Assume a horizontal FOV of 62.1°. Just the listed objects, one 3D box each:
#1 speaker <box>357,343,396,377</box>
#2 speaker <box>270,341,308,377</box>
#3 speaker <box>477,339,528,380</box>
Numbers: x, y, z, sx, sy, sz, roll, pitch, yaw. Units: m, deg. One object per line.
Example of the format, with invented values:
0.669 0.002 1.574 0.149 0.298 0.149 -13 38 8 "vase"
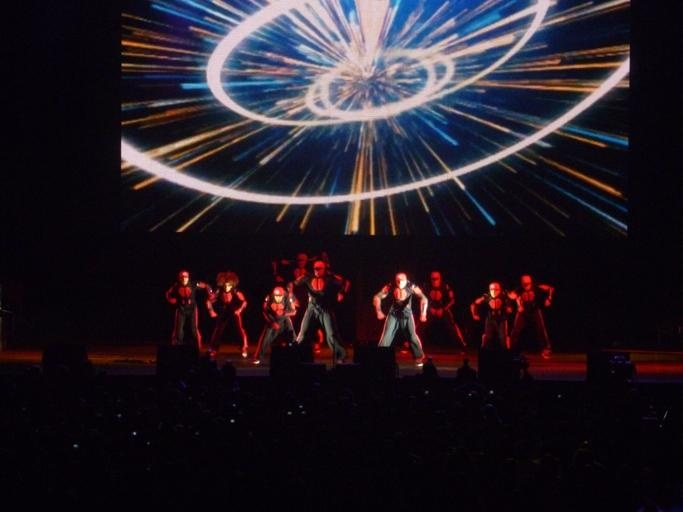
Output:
0.362 1.084 5.974 0.488 0.267 0.467 3 19 -2 "speaker"
-0.550 1.081 6.003 0.299 0.296 0.436 1 -3 7 "speaker"
1.634 1.052 5.835 0.359 0.281 0.357 2 -3 -24 "speaker"
